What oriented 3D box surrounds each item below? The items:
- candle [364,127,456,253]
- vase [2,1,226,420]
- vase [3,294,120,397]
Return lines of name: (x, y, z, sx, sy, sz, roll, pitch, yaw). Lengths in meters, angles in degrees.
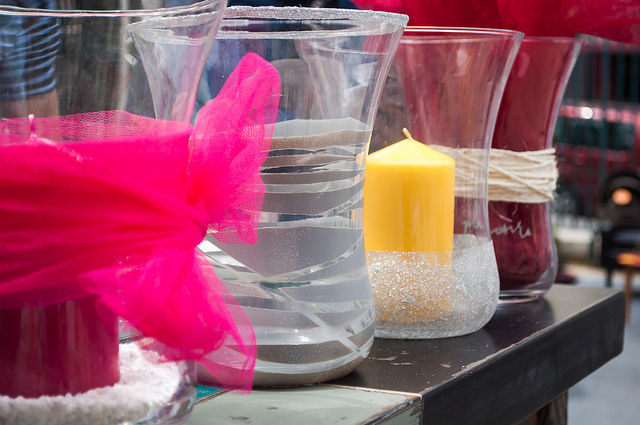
candle: (0.080, -0.017, 0.589, 0.079, 0.104, 0.075, 11, 22, 25)
vase: (-0.110, 0.002, 0.377, 0.107, 0.256, 0.125, 0, 8, -8)
vase: (-0.131, 0.067, 0.330, 0.056, 0.038, 0.053, 0, -3, -14)
